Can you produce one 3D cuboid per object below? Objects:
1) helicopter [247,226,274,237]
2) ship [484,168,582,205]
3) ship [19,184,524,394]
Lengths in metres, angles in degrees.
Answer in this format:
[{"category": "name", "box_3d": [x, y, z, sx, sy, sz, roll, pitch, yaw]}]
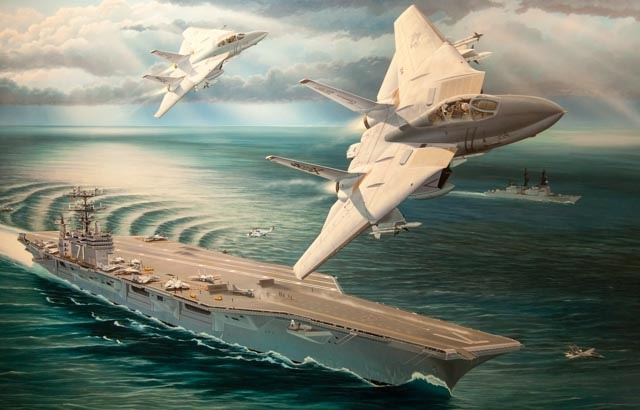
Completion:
[{"category": "helicopter", "box_3d": [-8.521, 3.955, 74.049, 3.461, 0.782, 2.549, 12, -2, 1]}, {"category": "ship", "box_3d": [50.969, -2.557, 106.750, 34.559, 5.591, 5.481, 2, 17, 11]}, {"category": "ship", "box_3d": [-12.216, 9.945, 60.553, 70.107, 9.197, 17.849, 6, 17, 19]}]
